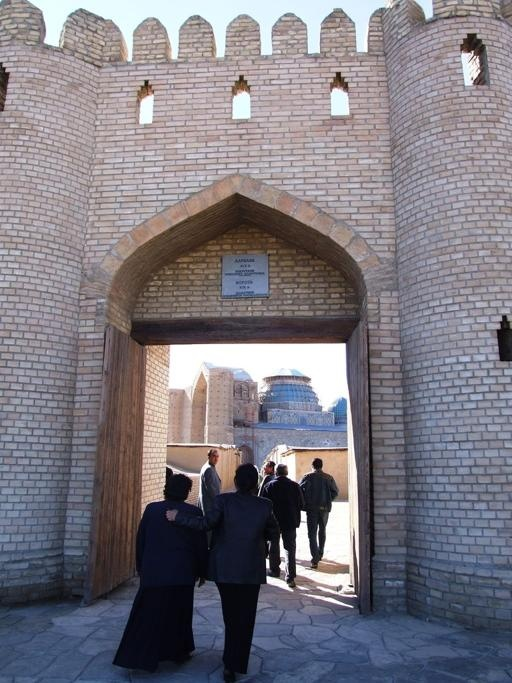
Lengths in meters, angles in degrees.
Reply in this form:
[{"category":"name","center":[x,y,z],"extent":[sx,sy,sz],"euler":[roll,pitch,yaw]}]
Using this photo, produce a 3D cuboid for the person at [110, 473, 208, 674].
[{"category":"person","center":[-0.527,1.314,3.397],"extent":[0.488,1.052,0.289],"euler":[4,-9,-7]}]
